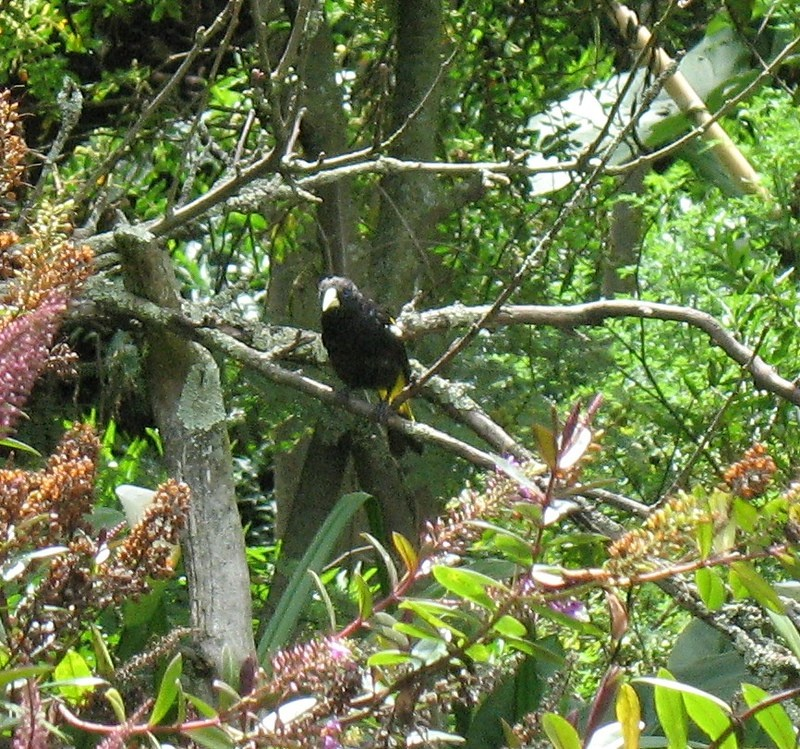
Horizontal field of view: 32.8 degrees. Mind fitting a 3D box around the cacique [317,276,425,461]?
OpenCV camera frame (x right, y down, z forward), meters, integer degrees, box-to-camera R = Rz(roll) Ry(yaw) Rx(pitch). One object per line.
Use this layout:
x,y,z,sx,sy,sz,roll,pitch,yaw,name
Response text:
-0.056,-0.067,3.537,0.179,0.342,0.626,1,2,24,cacique
